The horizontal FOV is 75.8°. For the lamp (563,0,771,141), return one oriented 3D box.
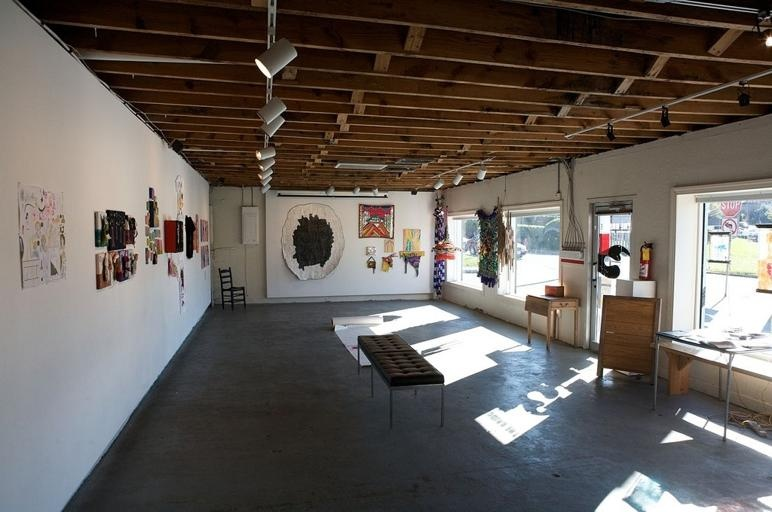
[{"bbox_3d":[3.267,-1.855,5.329,1.520,0.946,2.613,1,12,3],"label":"lamp"}]

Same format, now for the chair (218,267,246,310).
[{"bbox_3d":[-3.954,0.734,12.694,0.555,0.877,0.595,0,2,3],"label":"chair"}]

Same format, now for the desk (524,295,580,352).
[{"bbox_3d":[2.929,1.134,8.753,0.622,0.797,0.834,0,0,-12],"label":"desk"}]

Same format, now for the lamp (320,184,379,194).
[{"bbox_3d":[-0.828,-1.714,12.900,0.834,0.236,0.115,1,11,12],"label":"lamp"}]

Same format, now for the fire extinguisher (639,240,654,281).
[{"bbox_3d":[3.781,0.069,7.227,0.153,0.542,0.229,1,12,6],"label":"fire extinguisher"}]

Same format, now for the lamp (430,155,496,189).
[{"bbox_3d":[1.540,-1.642,10.326,1.408,0.324,0.285,-9,2,38],"label":"lamp"}]

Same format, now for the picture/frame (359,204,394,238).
[{"bbox_3d":[-0.310,-0.951,13.325,0.911,0.838,0.096,2,-6,-18],"label":"picture/frame"}]

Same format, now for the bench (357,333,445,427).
[{"bbox_3d":[0.170,1.543,6.243,0.685,0.702,1.585,-4,13,-18],"label":"bench"}]
